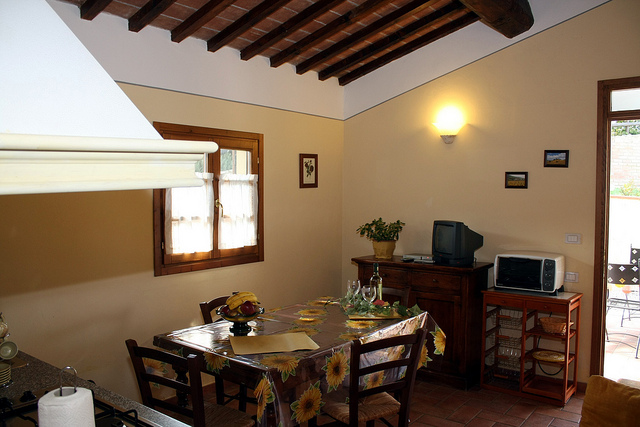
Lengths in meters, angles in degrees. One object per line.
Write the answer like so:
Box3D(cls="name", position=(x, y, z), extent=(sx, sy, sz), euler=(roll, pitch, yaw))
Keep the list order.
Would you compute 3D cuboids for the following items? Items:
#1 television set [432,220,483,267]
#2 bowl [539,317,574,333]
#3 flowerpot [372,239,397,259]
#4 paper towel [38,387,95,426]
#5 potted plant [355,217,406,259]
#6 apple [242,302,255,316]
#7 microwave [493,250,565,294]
Box3D(cls="television set", position=(1.515, 0.270, 4.871), extent=(0.323, 0.451, 0.473), euler=(7, 14, 44))
Box3D(cls="bowl", position=(2.350, 1.077, 4.274), extent=(0.178, 0.070, 0.174), euler=(-2, 2, 0))
Box3D(cls="flowerpot", position=(0.770, 0.419, 5.216), extent=(0.238, 0.179, 0.239), euler=(0, -1, -1))
Box3D(cls="paper towel", position=(-1.006, 0.769, 1.690), extent=(0.168, 0.149, 0.155), euler=(1, -1, -27))
Box3D(cls="potted plant", position=(0.740, 0.312, 5.255), extent=(0.512, 0.370, 0.502), euler=(5, -5, -36))
Box3D(cls="apple", position=(-0.526, 0.691, 3.157), extent=(0.083, 0.084, 0.050), euler=(-37, 13, -2))
Box3D(cls="microwave", position=(2.183, 0.637, 4.544), extent=(0.611, 0.399, 0.442), euler=(3, -2, 33))
